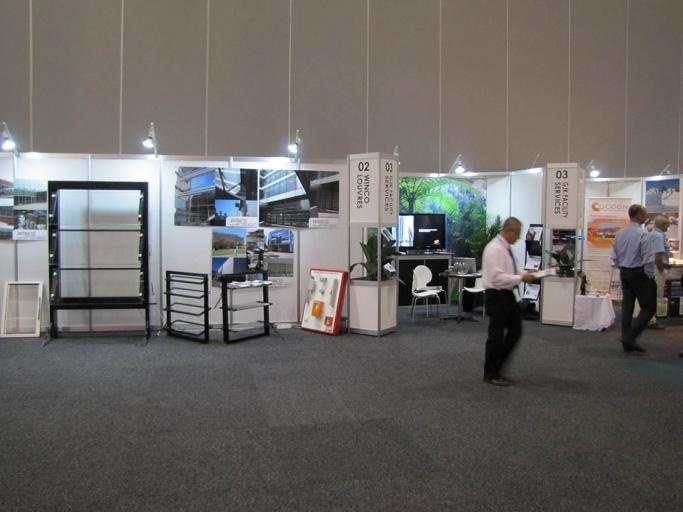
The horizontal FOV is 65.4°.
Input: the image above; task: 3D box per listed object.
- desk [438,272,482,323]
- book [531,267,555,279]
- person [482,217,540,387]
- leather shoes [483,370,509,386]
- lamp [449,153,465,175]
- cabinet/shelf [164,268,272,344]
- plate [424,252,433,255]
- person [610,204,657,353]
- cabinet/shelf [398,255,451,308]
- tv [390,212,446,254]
[{"bbox_3d":[2.249,0.699,9.900,0.818,0.903,0.841,-2,6,-19],"label":"desk"},{"bbox_3d":[2.710,0.225,7.101,0.318,0.079,0.207,-13,16,10],"label":"book"},{"bbox_3d":[1.904,0.518,6.069,0.542,1.894,0.468,1,3,19],"label":"person"},{"bbox_3d":[1.787,1.410,6.202,0.320,0.154,0.117,1,3,40],"label":"leather shoes"},{"bbox_3d":[2.640,-2.066,11.994,0.358,0.595,1.366,0,4,12],"label":"lamp"},{"bbox_3d":[-2.096,0.797,8.494,1.622,1.212,1.075,1,6,3],"label":"cabinet/shelf"},{"bbox_3d":[1.829,-0.053,11.043,0.162,0.068,0.306,0,4,7],"label":"plate"},{"bbox_3d":[4.047,0.305,7.345,0.568,2.019,0.559,2,4,40],"label":"person"},{"bbox_3d":[1.619,0.475,10.569,1.044,1.001,0.372,0,1,-13],"label":"cabinet/shelf"},{"bbox_3d":[1.525,-0.451,10.776,0.820,0.580,0.084,1,0,-4],"label":"tv"}]
